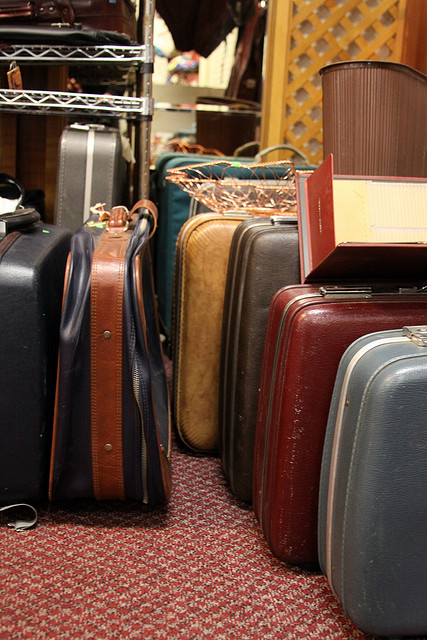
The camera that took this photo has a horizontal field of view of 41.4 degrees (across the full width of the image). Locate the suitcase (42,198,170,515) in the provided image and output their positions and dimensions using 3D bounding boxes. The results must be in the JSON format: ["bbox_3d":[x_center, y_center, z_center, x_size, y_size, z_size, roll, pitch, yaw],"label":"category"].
[{"bbox_3d":[-0.196,0.020,1.132,0.226,0.525,0.578,2,12,-7],"label":"suitcase"}]

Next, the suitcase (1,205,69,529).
[{"bbox_3d":[-0.325,0.061,0.988,0.106,0.498,0.291,3,10,-12],"label":"suitcase"}]

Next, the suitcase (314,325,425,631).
[{"bbox_3d":[0.214,0.193,0.730,0.121,0.356,0.152,5,10,-2],"label":"suitcase"}]

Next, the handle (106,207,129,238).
[{"bbox_3d":[-0.169,-0.168,0.992,0.038,0.052,0.054,1,2,-2],"label":"handle"}]
